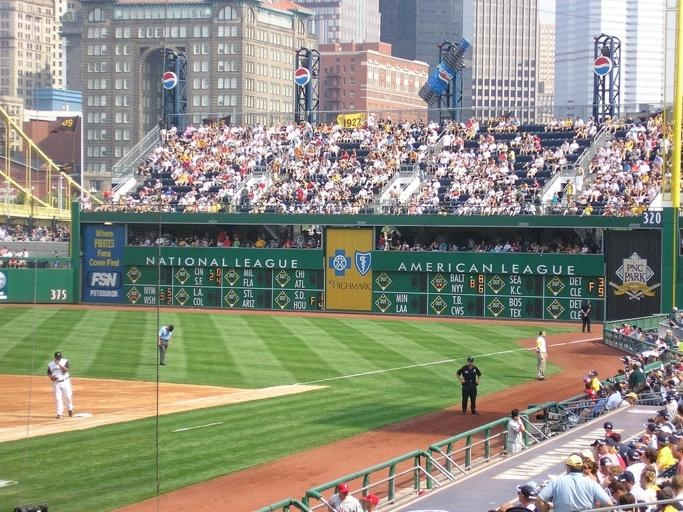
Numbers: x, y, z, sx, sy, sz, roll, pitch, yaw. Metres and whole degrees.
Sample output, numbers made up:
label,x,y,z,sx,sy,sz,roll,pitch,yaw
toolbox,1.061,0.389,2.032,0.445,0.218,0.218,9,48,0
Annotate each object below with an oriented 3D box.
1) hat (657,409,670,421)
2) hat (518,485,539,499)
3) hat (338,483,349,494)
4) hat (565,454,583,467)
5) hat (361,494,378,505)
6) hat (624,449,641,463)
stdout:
label,x,y,z,sx,sy,sz,roll,pitch,yaw
hat,10.274,5.196,44.977,0.328,0.411,0.413,6,42,12
hat,5.331,6.801,40.483,0.567,0.383,0.381,-2,-2,20
hat,0.035,6.981,41.936,0.216,0.311,0.267,-2,-2,17
hat,6.726,5.979,40.633,0.519,0.369,0.357,-1,-2,-8
hat,0.806,7.321,41.710,0.380,0.207,0.270,14,12,15
hat,8.762,6.101,42.386,0.403,0.444,0.319,-2,-2,9
